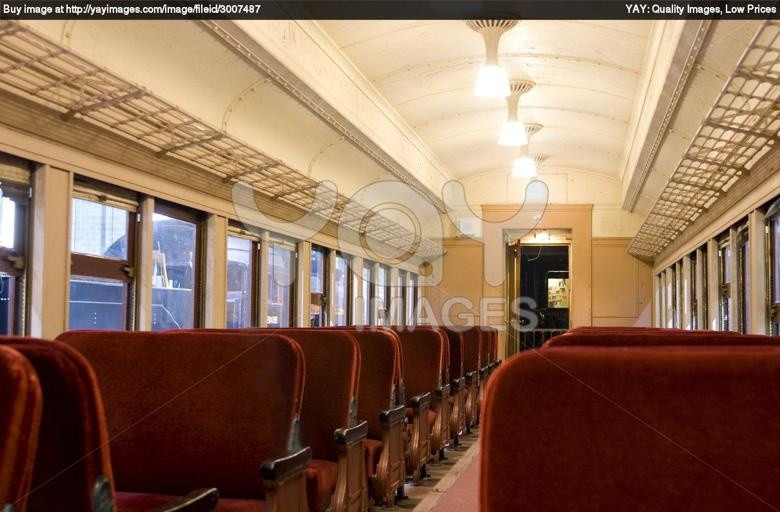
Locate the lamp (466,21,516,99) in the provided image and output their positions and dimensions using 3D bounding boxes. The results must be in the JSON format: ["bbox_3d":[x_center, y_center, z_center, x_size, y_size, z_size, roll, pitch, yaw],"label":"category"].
[{"bbox_3d":[1.524,-2.998,8.018,0.932,1.088,0.881,-5,18,-6],"label":"lamp"}]
